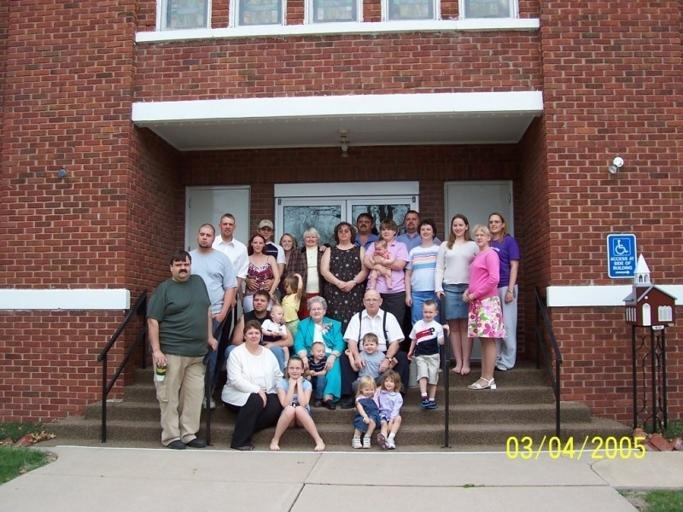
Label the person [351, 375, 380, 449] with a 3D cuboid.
[{"bbox_3d":[0.325,2.057,9.663,0.370,0.920,0.328,-1,11,0],"label":"person"}]

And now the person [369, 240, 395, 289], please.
[{"bbox_3d":[0.584,0.123,10.895,0.330,0.714,0.214,-1,11,1],"label":"person"}]

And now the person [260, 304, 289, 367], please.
[{"bbox_3d":[-0.911,1.144,10.412,0.383,0.873,0.505,-1,10,-29],"label":"person"}]

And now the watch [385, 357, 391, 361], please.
[{"bbox_3d":[0.638,1.406,10.042,0.075,0.049,0.096,6,13,31],"label":"watch"}]

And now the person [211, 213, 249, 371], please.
[{"bbox_3d":[-1.813,0.675,11.297,0.821,2.480,0.781,0,13,-17],"label":"person"}]

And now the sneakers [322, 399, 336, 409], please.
[{"bbox_3d":[-0.167,2.062,10.214,0.083,0.064,0.208,0,0,-29],"label":"sneakers"}]

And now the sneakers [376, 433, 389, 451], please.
[{"bbox_3d":[0.529,2.436,9.554,0.100,0.255,0.113,-3,9,17],"label":"sneakers"}]

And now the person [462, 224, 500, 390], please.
[{"bbox_3d":[2.045,0.734,10.496,0.557,2.257,0.638,0,11,3],"label":"person"}]

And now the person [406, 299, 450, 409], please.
[{"bbox_3d":[1.206,1.347,10.230,0.554,1.455,0.653,0,11,6],"label":"person"}]

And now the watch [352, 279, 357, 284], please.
[{"bbox_3d":[0.210,0.383,10.883,0.049,0.081,0.056,-1,11,2],"label":"watch"}]

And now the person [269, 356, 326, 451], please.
[{"bbox_3d":[-0.595,1.946,9.762,0.713,1.141,0.693,-2,11,-2],"label":"person"}]

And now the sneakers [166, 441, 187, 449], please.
[{"bbox_3d":[-2.193,2.515,9.762,0.254,0.101,0.095,-5,-7,18],"label":"sneakers"}]

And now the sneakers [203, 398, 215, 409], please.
[{"bbox_3d":[-1.800,2.046,10.134,0.102,0.118,0.274,5,-13,-29],"label":"sneakers"}]

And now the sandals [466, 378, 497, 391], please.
[{"bbox_3d":[2.024,1.831,10.479,0.292,0.111,0.167,1,-6,-4],"label":"sandals"}]

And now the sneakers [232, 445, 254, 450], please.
[{"bbox_3d":[-1.296,2.518,9.641,0.271,0.065,0.089,-2,11,-5],"label":"sneakers"}]

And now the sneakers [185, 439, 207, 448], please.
[{"bbox_3d":[-1.943,2.511,9.847,0.267,0.114,0.108,-4,-9,14],"label":"sneakers"}]

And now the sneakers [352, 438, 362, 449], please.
[{"bbox_3d":[0.207,2.451,9.589,0.087,0.108,0.143,3,-2,-25],"label":"sneakers"}]

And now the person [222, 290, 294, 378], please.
[{"bbox_3d":[-1.191,1.115,10.445,0.911,1.227,0.807,7,-5,-27],"label":"person"}]

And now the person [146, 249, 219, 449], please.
[{"bbox_3d":[-2.117,1.253,9.839,0.807,2.546,0.629,-7,12,-27],"label":"person"}]
